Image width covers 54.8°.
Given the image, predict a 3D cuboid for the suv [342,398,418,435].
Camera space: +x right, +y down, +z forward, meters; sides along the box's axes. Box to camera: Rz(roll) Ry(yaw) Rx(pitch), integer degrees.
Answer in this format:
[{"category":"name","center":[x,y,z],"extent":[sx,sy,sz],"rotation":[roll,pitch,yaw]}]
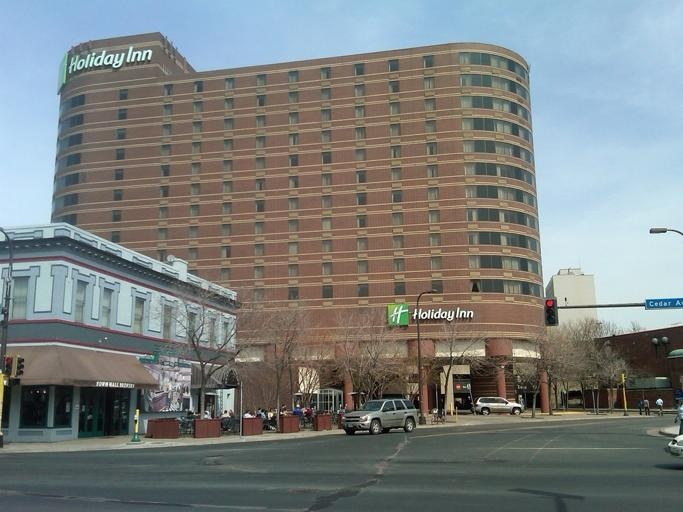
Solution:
[{"category":"suv","center":[2.370,9.683,39.916],"extent":[2.214,1.579,4.042],"rotation":[-15,-22,39]}]

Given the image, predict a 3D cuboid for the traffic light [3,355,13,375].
[{"category":"traffic light","center":[-16.319,5.383,32.161],"extent":[0.299,0.921,0.651],"rotation":[7,-19,-31]}]

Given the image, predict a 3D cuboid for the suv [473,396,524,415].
[{"category":"suv","center":[16.867,16.239,71.082],"extent":[4.547,1.579,2.055],"rotation":[-2,-8,2]}]
